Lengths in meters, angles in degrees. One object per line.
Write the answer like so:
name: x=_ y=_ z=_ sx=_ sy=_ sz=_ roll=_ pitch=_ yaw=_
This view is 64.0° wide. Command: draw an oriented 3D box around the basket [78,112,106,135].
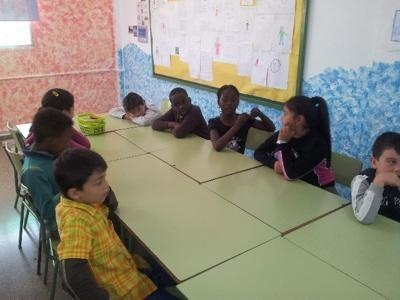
basket: x=-1.031 y=-0.256 z=3.013 sx=0.188 sy=0.134 sz=0.262 roll=-12 pitch=19 yaw=-37

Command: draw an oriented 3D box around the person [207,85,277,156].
person: x=0.405 y=-0.265 z=2.852 sx=0.499 sy=0.839 sz=0.449 roll=-18 pitch=16 yaw=-26
